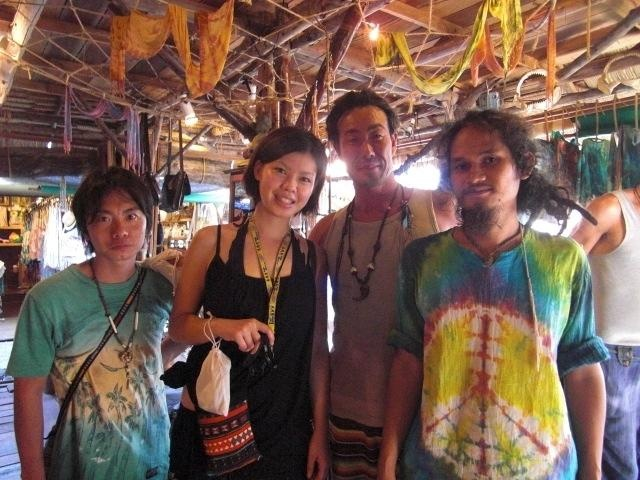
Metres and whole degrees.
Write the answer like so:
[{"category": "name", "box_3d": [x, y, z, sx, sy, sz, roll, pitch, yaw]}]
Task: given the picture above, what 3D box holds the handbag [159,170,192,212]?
[{"category": "handbag", "box_3d": [-1.913, -0.665, 7.232, 0.401, 0.551, 0.182, 2, -24, 36]}]
